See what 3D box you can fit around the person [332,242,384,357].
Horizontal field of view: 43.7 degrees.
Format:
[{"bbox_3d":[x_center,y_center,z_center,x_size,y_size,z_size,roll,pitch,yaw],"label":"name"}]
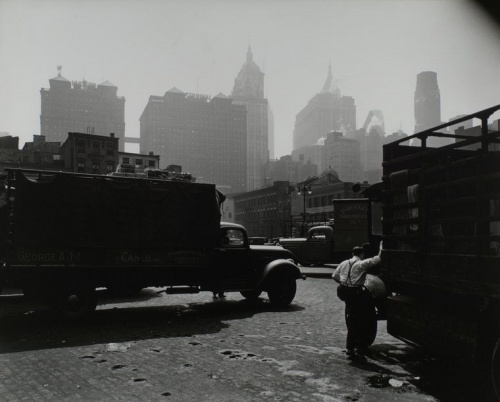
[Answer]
[{"bbox_3d":[2.006,1.882,11.730,0.827,1.977,0.603,0,0,-6],"label":"person"}]
